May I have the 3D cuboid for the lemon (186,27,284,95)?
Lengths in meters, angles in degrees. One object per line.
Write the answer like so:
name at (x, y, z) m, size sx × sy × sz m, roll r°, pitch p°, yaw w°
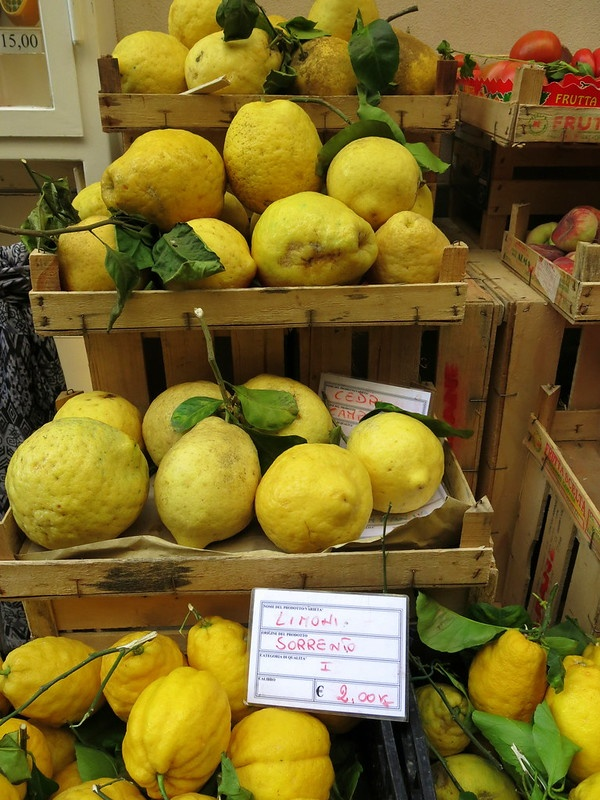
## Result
lemon at (-0.108, -0.547, 1.081) m, size 0.158 × 0.106 × 0.109 m, roll -7°, pitch 18°, yaw -14°

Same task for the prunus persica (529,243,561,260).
prunus persica at (0.563, -0.338, 1.473) m, size 0.066 × 0.023 × 0.050 m, roll 20°, pitch 20°, yaw -25°

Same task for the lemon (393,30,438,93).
lemon at (0.213, -0.620, 1.190) m, size 0.076 × 0.103 × 0.140 m, roll 2°, pitch 31°, yaw 8°

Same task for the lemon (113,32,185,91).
lemon at (-0.266, -0.603, 1.128) m, size 0.107 × 0.094 × 0.082 m, roll 12°, pitch 19°, yaw 26°

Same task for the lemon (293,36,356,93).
lemon at (0.043, -0.571, 1.112) m, size 0.107 × 0.089 × 0.054 m, roll 1°, pitch 33°, yaw 6°

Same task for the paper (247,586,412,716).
paper at (0.033, 0.307, 0.799) m, size 0.200 × 0.100 × 0.113 m, roll 3°, pitch 32°, yaw 7°
